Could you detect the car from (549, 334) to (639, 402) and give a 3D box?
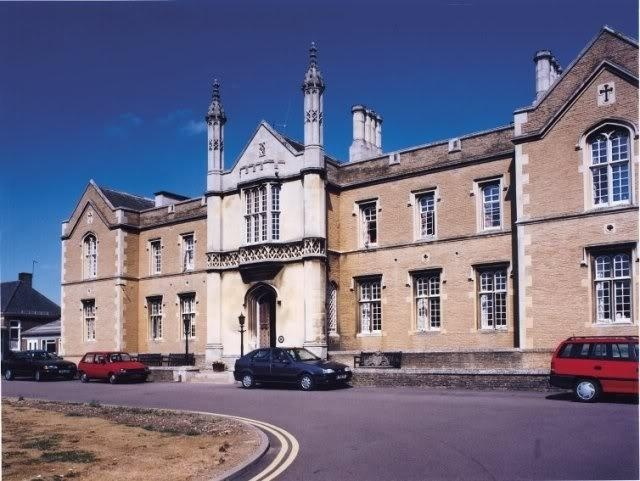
[{"bbox_3d":[9.481,4.302,30.356,3.145,1.472,1.687,-6,-8,22],"label":"car"}]

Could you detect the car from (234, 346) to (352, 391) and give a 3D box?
[{"bbox_3d":[-1.129,5.362,36.701,4.149,1.363,1.968,-8,-11,33],"label":"car"}]

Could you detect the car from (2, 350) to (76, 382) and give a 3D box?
[{"bbox_3d":[-14.539,6.500,45.803,3.651,1.603,1.752,-1,3,32],"label":"car"}]
